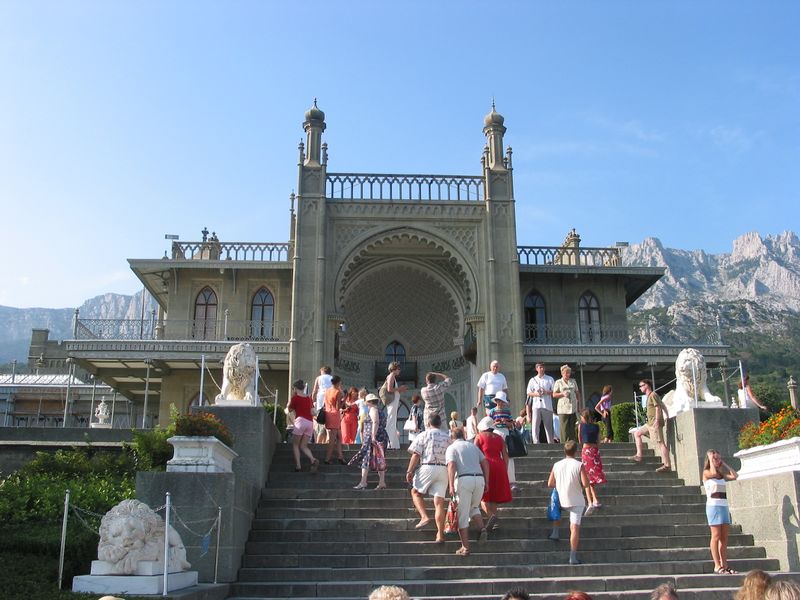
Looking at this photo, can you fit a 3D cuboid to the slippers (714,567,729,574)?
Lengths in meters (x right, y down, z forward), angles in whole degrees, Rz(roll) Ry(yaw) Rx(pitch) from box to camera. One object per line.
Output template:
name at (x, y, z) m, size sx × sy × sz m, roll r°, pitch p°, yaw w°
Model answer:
slippers at (5.004, 4.218, 10.883) m, size 0.192 × 0.096 × 0.082 m, roll 0°, pitch -4°, yaw -20°

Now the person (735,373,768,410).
person at (7.558, 1.985, 15.163) m, size 0.360 × 0.719 × 1.601 m, roll -4°, pitch -10°, yaw 27°

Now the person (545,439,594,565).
person at (2.792, 3.308, 11.638) m, size 0.642 × 1.917 × 1.311 m, roll -2°, pitch -9°, yaw 15°

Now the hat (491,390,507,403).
hat at (2.012, 1.998, 14.364) m, size 0.273 × 0.135 × 0.333 m, roll 12°, pitch -23°, yaw 35°

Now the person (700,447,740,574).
person at (5.300, 3.417, 11.535) m, size 0.465 × 1.862 × 1.440 m, roll -3°, pitch -9°, yaw 25°

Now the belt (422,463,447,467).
belt at (0.579, 2.738, 11.580) m, size 0.380 × 0.106 × 0.069 m, roll 1°, pitch -8°, yaw -4°
